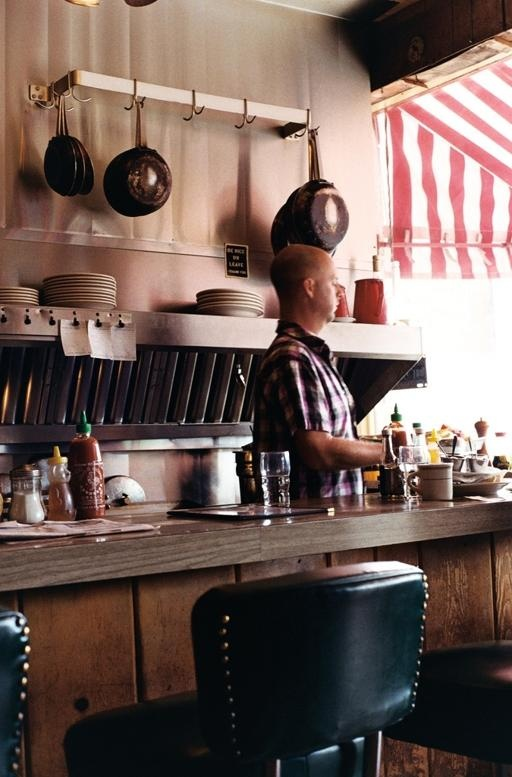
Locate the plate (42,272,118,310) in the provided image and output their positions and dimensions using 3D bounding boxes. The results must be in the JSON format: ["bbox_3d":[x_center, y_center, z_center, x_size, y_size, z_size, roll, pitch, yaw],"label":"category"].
[{"bbox_3d":[-0.668,-0.371,2.459,0.181,0.081,0.186,0,-7,-2],"label":"plate"}]

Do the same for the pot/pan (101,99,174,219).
[{"bbox_3d":[-0.501,-0.934,2.693,0.283,0.498,0.075,-6,7,-26],"label":"pot/pan"}]

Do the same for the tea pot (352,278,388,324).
[{"bbox_3d":[0.565,-0.441,3.221,0.151,0.240,0.244,-2,-10,11],"label":"tea pot"}]

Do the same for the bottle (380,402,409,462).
[{"bbox_3d":[0.471,0.161,2.132,0.099,0.210,0.100,-1,7,0],"label":"bottle"}]

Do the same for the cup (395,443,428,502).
[{"bbox_3d":[0.447,0.238,1.811,0.083,0.146,0.085,2,-9,0],"label":"cup"}]

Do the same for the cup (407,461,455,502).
[{"bbox_3d":[0.483,0.259,1.726,0.119,0.090,0.080,-4,-6,27],"label":"cup"}]

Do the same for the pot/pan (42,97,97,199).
[{"bbox_3d":[-0.777,-0.961,2.558,0.063,0.388,0.225,-11,10,-40],"label":"pot/pan"}]

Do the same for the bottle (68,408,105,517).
[{"bbox_3d":[-0.384,0.183,1.450,0.097,0.169,0.167,9,5,-13],"label":"bottle"}]

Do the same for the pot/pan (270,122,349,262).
[{"bbox_3d":[0.260,-0.906,3.120,0.211,0.695,0.406,6,-1,35],"label":"pot/pan"}]

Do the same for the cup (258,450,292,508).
[{"bbox_3d":[0.051,0.235,1.634,0.109,0.137,0.112,-3,-10,0],"label":"cup"}]

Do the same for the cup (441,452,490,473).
[{"bbox_3d":[0.699,0.231,2.044,0.103,0.040,0.077,2,-3,-8],"label":"cup"}]

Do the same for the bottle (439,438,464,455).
[{"bbox_3d":[0.728,0.216,2.322,0.074,0.078,0.094,1,-11,-3],"label":"bottle"}]
